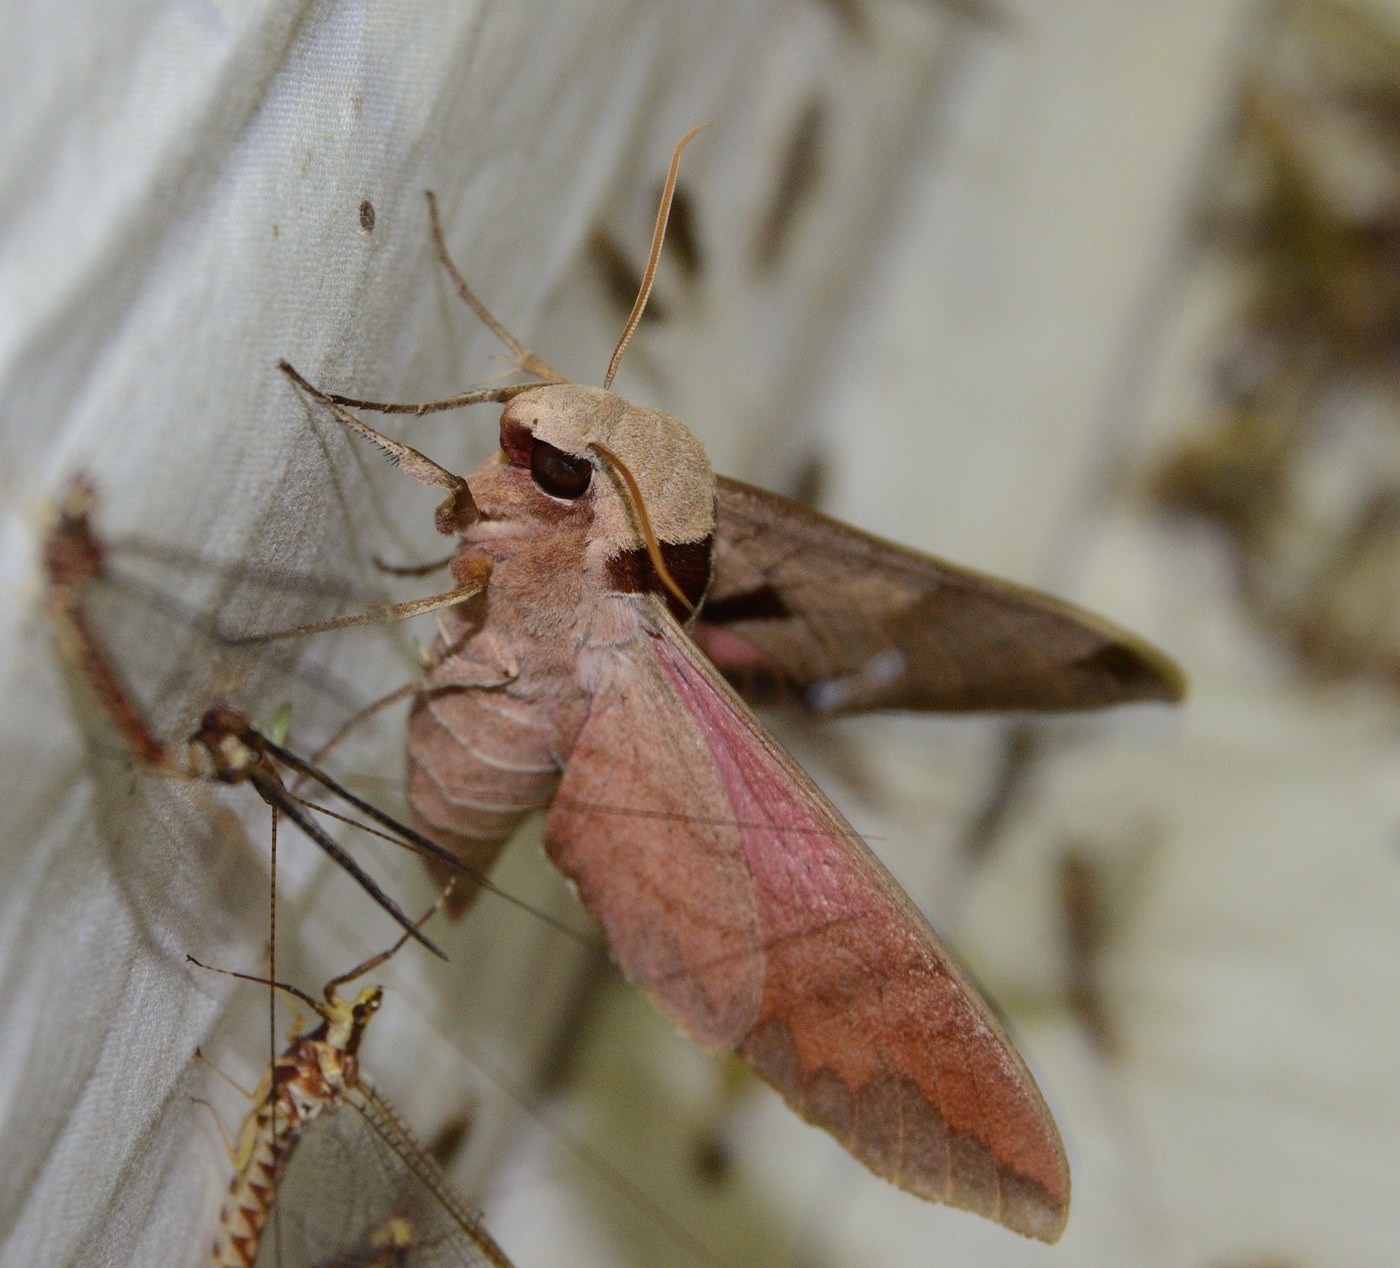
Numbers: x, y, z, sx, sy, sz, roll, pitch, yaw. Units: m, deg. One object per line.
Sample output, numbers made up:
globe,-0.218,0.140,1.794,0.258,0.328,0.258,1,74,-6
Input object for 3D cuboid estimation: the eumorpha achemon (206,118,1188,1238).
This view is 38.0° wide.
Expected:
eumorpha achemon,-0.006,0.051,1.374,0.526,0.468,0.824,3,47,6
